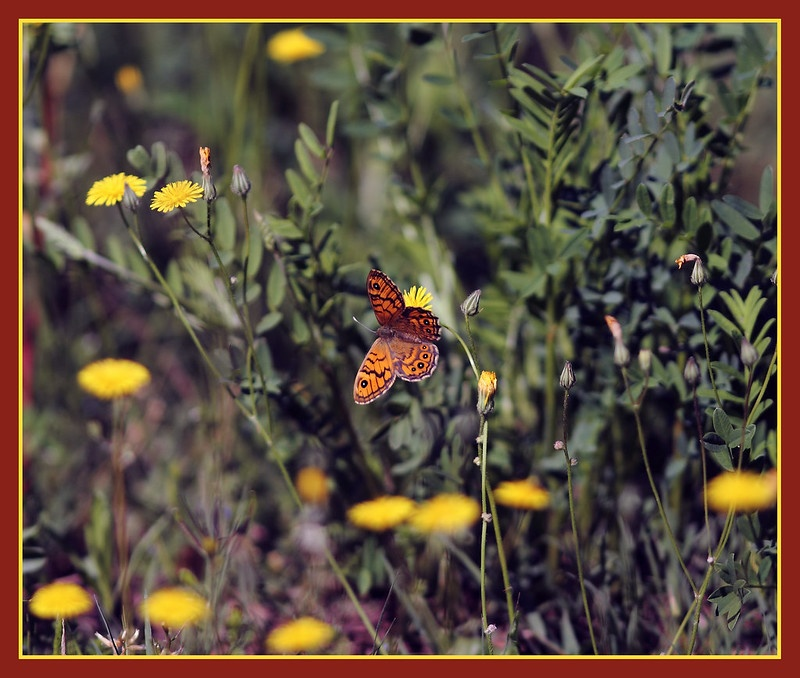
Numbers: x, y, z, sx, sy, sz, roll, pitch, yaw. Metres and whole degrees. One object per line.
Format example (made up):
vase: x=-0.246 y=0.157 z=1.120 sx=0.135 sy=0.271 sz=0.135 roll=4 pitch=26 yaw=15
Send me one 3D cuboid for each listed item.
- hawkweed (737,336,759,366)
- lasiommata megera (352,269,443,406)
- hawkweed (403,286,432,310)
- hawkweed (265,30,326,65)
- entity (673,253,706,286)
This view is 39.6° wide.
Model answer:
hawkweed: x=0.597 y=0.013 z=1.920 sx=0.026 sy=0.015 sz=0.057 roll=-14 pitch=-91 yaw=29
lasiommata megera: x=-0.001 y=0.013 z=2.022 sx=0.144 sy=0.098 sz=0.226 roll=7 pitch=-62 yaw=-12
hawkweed: x=0.035 y=-0.077 z=2.016 sx=0.039 sy=0.021 sz=0.056 roll=13 pitch=-80 yaw=-23
hawkweed: x=-0.225 y=-0.637 z=2.433 sx=0.098 sy=0.091 sz=0.028 roll=12 pitch=-14 yaw=18
entity: x=0.533 y=-0.130 z=2.035 sx=0.048 sy=0.028 sz=0.071 roll=6 pitch=-70 yaw=42
